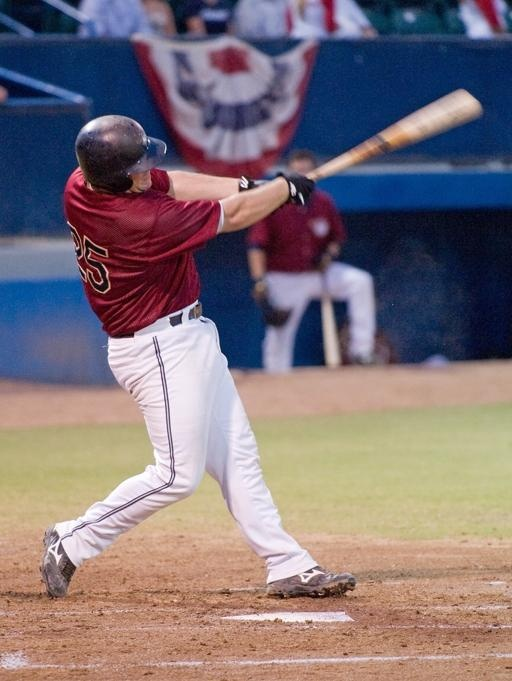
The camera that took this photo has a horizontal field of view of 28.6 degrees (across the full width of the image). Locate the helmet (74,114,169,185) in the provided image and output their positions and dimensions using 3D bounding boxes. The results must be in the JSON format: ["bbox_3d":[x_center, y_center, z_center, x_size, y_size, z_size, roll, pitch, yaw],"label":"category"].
[{"bbox_3d":[-0.361,-0.499,2.663,0.212,0.227,0.232,0,5,15],"label":"helmet"}]

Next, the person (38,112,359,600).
[{"bbox_3d":[-0.202,0.072,2.785,0.806,1.356,0.346,-3,6,-14],"label":"person"}]

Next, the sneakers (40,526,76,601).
[{"bbox_3d":[-0.572,0.635,2.918,0.130,0.203,0.085,5,18,16],"label":"sneakers"}]

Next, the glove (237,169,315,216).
[{"bbox_3d":[0.080,-0.427,2.869,0.147,0.070,0.168,3,-5,-14],"label":"glove"}]

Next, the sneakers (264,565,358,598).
[{"bbox_3d":[0.161,0.686,2.886,0.295,0.094,0.092,-6,-8,2],"label":"sneakers"}]
